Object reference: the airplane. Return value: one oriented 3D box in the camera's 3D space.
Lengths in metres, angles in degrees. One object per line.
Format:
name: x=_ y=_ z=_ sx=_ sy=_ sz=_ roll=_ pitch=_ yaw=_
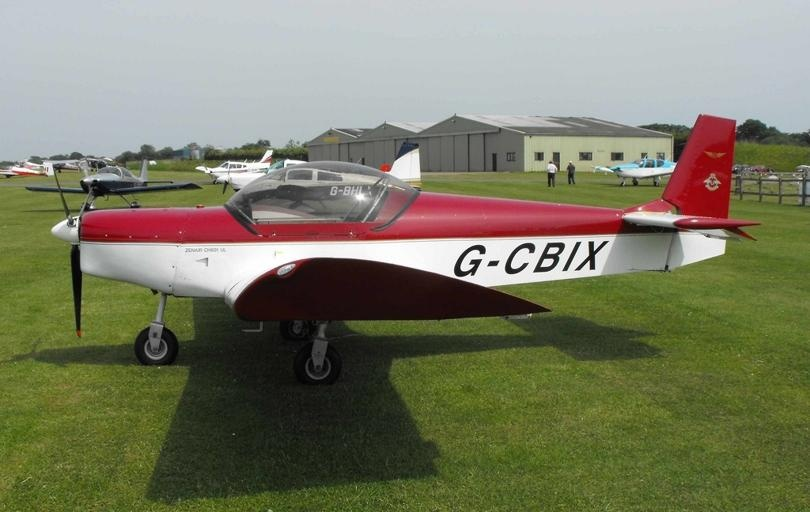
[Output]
airplane: x=0.009 y=-1.217 z=14.311 sx=9.870 sy=3.710 sz=17.150 roll=2 pitch=8 yaw=2
